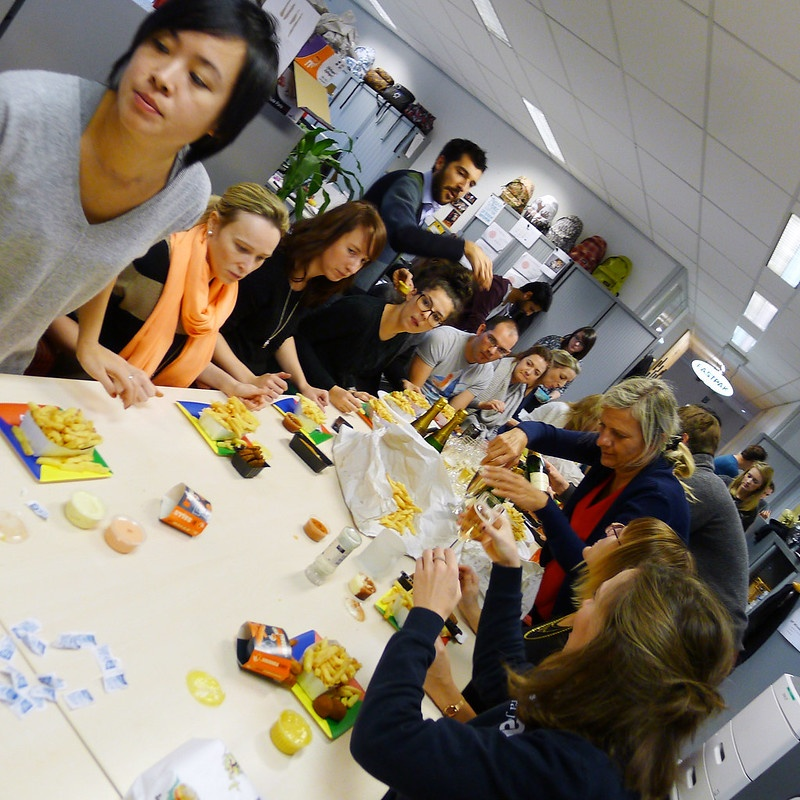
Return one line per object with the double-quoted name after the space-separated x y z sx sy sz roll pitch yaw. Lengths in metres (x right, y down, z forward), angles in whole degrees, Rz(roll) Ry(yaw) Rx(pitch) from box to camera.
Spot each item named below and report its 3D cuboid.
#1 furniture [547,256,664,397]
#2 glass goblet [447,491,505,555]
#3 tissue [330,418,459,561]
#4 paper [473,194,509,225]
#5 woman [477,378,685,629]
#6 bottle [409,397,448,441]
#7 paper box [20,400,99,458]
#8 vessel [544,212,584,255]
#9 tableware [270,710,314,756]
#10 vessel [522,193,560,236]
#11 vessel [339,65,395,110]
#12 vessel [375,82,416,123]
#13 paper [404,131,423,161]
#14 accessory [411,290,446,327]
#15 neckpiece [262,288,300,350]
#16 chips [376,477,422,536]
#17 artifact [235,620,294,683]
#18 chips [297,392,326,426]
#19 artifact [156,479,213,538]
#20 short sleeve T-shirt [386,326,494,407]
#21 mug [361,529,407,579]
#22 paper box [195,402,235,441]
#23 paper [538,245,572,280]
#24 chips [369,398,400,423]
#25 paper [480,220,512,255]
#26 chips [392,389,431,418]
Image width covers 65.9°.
1.825 -0.706 5.628 1.446 0.745 0.442 27 -13 -8 "furniture"
0.200 0.338 1.669 0.089 0.213 0.082 41 36 -9 "glass goblet"
-0.051 0.295 1.866 0.355 0.137 0.383 8 41 -33 "tissue"
0.922 -1.944 6.309 0.250 0.327 0.092 41 24 3 "paper"
0.562 0.313 1.943 0.533 0.823 0.352 23 29 -21 "woman"
0.123 0.087 2.771 0.092 0.238 0.100 40 -22 20 "bottle"
-0.674 0.056 1.207 0.106 0.053 0.127 37 17 29 "paper box"
1.685 -1.708 6.367 0.347 0.469 0.264 32 -19 28 "vessel"
-0.177 0.553 1.026 0.063 0.023 0.061 42 25 -6 "tableware"
1.455 -1.924 6.431 0.378 0.283 0.493 27 49 3 "vessel"
-0.303 -3.445 6.712 0.409 0.260 0.148 5 -20 -11 "vessel"
-0.029 -3.242 6.739 0.307 0.346 0.381 32 27 1 "vessel"
0.161 -2.964 7.186 0.222 0.206 0.053 -15 75 -49 "paper"
0.114 -0.435 2.928 0.153 0.052 0.153 45 14 -32 "accessory"
-0.509 -0.320 2.553 0.084 0.320 0.009 27 9 -36 "neckpiece"
-0.006 0.296 1.750 0.142 0.043 0.106 48 35 -13 "chips"
-0.245 0.448 1.091 0.091 0.084 0.096 -19 15 -30 "artifact"
-0.301 0.027 2.065 0.096 0.039 0.090 58 9 13 "chips"
-0.463 0.230 1.314 0.094 0.088 0.109 16 3 -25 "artifact"
0.203 -0.196 3.490 0.401 0.441 0.242 27 35 -48 "short sleeve T-shirt"
-0.046 0.395 1.569 0.080 0.113 0.119 30 15 -27 "mug"
-0.486 0.058 1.654 0.093 0.054 0.090 35 6 -22 "paper box"
1.534 -1.372 6.182 0.298 0.380 0.040 31 6 3 "paper"
-0.066 0.032 2.465 0.096 0.034 0.107 22 13 -22 "chips"
0.980 -1.663 6.311 0.313 0.286 0.077 45 20 8 "paper"
0.045 0.013 2.877 0.144 0.060 0.144 37 5 43 "chips"
